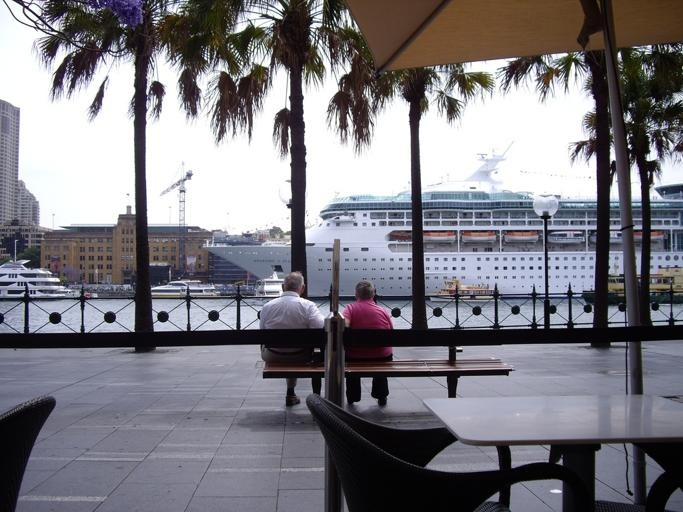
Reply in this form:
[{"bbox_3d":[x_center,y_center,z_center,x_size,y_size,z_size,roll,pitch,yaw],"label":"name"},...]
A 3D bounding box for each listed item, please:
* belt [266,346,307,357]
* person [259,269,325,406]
[{"bbox_3d":[-0.666,1.161,9.775,0.490,0.103,0.080,-1,0,-2],"label":"belt"},{"bbox_3d":[-0.643,1.076,10.182,0.765,1.793,0.977,3,1,3],"label":"person"}]
